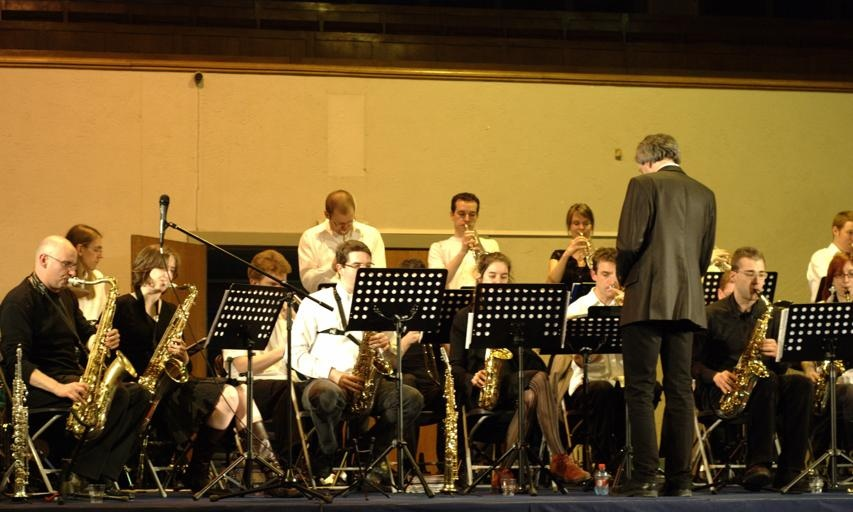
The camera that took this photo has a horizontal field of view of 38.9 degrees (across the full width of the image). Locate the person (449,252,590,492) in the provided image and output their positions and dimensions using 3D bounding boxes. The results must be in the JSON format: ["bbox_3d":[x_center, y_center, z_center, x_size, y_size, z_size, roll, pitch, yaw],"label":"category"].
[{"bbox_3d":[0.934,1.157,13.039,1.226,2.539,1.147,1,1,7],"label":"person"}]

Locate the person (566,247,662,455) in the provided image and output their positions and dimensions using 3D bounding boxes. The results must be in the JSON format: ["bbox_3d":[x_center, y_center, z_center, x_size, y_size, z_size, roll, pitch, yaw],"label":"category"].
[{"bbox_3d":[1.991,0.984,13.023,0.868,2.338,0.885,1,1,4],"label":"person"}]

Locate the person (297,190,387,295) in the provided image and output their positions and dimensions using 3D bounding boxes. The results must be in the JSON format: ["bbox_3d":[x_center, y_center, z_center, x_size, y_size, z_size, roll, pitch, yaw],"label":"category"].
[{"bbox_3d":[-0.942,0.186,14.553,1.061,1.948,1.021,-7,15,-12],"label":"person"}]

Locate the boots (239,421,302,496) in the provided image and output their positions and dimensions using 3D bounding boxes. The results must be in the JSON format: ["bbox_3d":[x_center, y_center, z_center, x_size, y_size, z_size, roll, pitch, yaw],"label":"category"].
[{"bbox_3d":[-1.524,2.100,12.191,0.592,0.864,0.498,2,0,-9],"label":"boots"}]

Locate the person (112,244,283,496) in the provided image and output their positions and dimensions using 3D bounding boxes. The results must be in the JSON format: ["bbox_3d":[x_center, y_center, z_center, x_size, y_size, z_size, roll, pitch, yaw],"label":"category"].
[{"bbox_3d":[-2.354,1.196,12.835,1.093,3.207,1.182,-1,-2,27],"label":"person"}]

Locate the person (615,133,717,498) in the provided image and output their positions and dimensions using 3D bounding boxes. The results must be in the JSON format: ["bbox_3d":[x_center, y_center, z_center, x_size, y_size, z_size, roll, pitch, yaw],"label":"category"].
[{"bbox_3d":[2.386,0.465,12.289,1.002,3.270,1.021,0,-2,-11],"label":"person"}]

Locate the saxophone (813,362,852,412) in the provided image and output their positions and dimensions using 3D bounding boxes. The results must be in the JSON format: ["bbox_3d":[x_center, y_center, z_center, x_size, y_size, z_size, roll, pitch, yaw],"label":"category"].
[{"bbox_3d":[4.322,1.388,12.959,0.397,0.544,0.206,2,4,3],"label":"saxophone"}]

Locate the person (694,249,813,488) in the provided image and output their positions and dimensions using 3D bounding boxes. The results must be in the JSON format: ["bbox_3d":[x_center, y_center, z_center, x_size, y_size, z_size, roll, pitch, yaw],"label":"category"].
[{"bbox_3d":[3.499,1.273,12.794,1.066,2.723,1.079,3,-1,-39],"label":"person"}]

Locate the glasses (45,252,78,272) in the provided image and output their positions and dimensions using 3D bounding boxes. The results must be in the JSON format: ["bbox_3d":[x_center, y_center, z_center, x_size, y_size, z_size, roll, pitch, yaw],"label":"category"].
[{"bbox_3d":[-3.628,0.050,12.265,0.212,0.120,0.209,17,4,32],"label":"glasses"}]

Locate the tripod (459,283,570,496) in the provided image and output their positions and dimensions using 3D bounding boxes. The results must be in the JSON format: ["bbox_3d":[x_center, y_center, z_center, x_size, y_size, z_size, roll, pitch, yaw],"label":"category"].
[{"bbox_3d":[0.917,1.344,12.270,0.988,2.092,0.557,2,-9,1],"label":"tripod"}]

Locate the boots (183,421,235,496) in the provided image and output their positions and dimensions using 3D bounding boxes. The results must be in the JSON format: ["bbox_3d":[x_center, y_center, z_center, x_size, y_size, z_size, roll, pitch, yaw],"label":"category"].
[{"bbox_3d":[-2.230,2.090,12.547,0.415,0.749,0.380,2,0,-2],"label":"boots"}]

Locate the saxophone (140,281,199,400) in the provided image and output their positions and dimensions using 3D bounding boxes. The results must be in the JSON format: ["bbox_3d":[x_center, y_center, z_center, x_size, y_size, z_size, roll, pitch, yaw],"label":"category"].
[{"bbox_3d":[-2.664,0.933,12.688,0.430,1.349,0.456,1,-1,-1],"label":"saxophone"}]

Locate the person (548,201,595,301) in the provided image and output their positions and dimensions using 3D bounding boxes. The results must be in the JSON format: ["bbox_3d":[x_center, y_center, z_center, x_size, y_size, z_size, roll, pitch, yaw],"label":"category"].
[{"bbox_3d":[1.738,-0.066,14.048,0.395,1.187,0.502,0,-1,-15],"label":"person"}]

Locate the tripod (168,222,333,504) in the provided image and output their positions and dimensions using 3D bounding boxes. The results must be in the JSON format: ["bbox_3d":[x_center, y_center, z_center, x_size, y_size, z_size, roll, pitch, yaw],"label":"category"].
[{"bbox_3d":[-1.820,1.209,12.882,2.002,3.457,1.610,11,-22,-19],"label":"tripod"}]

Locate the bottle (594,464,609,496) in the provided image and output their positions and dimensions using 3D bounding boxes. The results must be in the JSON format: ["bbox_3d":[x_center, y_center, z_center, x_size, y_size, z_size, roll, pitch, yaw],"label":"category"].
[{"bbox_3d":[1.779,2.267,12.205,0.150,0.303,0.294,1,-10,8],"label":"bottle"}]

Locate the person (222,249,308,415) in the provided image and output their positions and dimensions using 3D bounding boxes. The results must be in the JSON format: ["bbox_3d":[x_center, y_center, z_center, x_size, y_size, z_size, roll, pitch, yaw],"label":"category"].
[{"bbox_3d":[-1.695,0.877,12.977,0.724,1.893,0.703,3,0,-3],"label":"person"}]

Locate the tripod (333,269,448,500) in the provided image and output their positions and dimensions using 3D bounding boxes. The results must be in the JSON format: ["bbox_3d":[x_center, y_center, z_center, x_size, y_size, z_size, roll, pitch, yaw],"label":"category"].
[{"bbox_3d":[-0.281,1.349,12.529,0.974,2.408,0.907,0,-3,-6],"label":"tripod"}]
